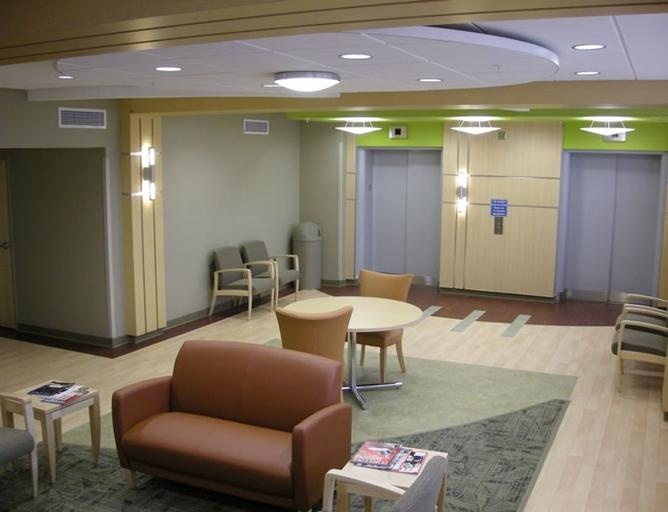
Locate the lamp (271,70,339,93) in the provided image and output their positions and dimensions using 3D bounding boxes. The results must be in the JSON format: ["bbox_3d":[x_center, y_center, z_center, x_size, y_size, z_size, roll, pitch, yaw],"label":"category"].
[{"bbox_3d":[-0.233,-1.300,3.755,0.509,0.104,0.294,5,11,22],"label":"lamp"}]

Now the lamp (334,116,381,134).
[{"bbox_3d":[0.459,-2.528,9.811,0.882,0.270,1.896,1,10,5],"label":"lamp"}]

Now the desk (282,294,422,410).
[{"bbox_3d":[0.221,1.141,5.726,1.270,0.753,1.286,-15,-28,29],"label":"desk"}]

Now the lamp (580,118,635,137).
[{"bbox_3d":[4.620,-2.184,8.646,0.649,0.193,0.608,-8,12,-36],"label":"lamp"}]

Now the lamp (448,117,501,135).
[{"bbox_3d":[2.637,-2.429,9.505,0.949,0.281,1.086,3,11,14],"label":"lamp"}]

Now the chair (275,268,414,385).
[{"bbox_3d":[0.147,0.845,6.805,1.180,1.845,1.246,2,2,29],"label":"chair"}]

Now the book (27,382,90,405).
[{"bbox_3d":[-2.376,1.172,4.391,0.227,0.023,0.204,11,14,29],"label":"book"}]
